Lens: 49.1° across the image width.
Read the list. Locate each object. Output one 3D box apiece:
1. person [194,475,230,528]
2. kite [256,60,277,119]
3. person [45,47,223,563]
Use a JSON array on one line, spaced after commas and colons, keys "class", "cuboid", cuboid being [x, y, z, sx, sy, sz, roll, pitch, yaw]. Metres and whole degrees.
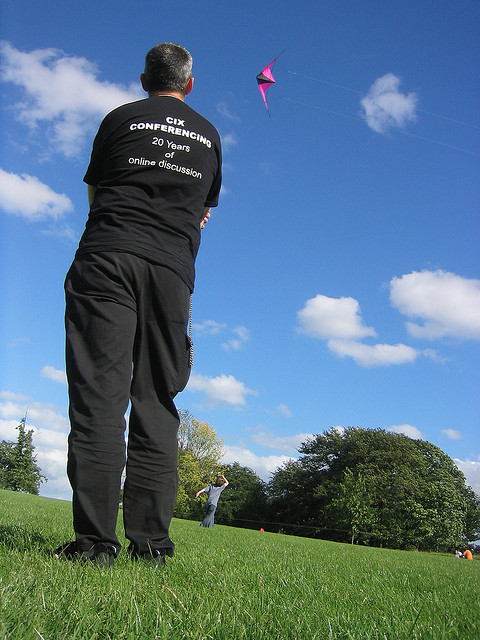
[{"class": "person", "cuboid": [-0.831, 5.230, 14.997, 0.750, 1.784, 0.377, 11, 10, -2]}, {"class": "kite", "cuboid": [0.424, -3.986, 8.745, 0.265, 0.910, 0.753, 6, -12, -1]}, {"class": "person", "cuboid": [-0.411, -0.232, 2.394, 0.615, 2.527, 0.461, 12, -15, -26]}]
